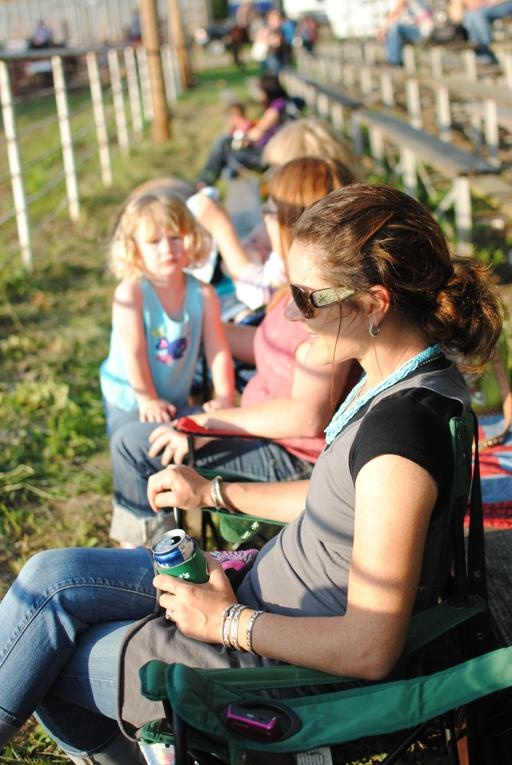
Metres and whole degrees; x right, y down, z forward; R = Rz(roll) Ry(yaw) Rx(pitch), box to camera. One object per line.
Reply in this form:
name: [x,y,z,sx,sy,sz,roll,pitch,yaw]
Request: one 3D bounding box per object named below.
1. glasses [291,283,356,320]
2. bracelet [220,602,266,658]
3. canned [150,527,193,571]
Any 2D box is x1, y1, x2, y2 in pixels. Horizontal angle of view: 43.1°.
glasses: [0.130,-0.161,1.245,0.088,0.034,0.080,-12,10,-16]
bracelet: [-0.027,0.454,1.195,0.073,0.033,0.095,-1,-3,24]
canned: [-0.163,0.331,1.278,0.078,0.078,0.071,2,29,-4]
